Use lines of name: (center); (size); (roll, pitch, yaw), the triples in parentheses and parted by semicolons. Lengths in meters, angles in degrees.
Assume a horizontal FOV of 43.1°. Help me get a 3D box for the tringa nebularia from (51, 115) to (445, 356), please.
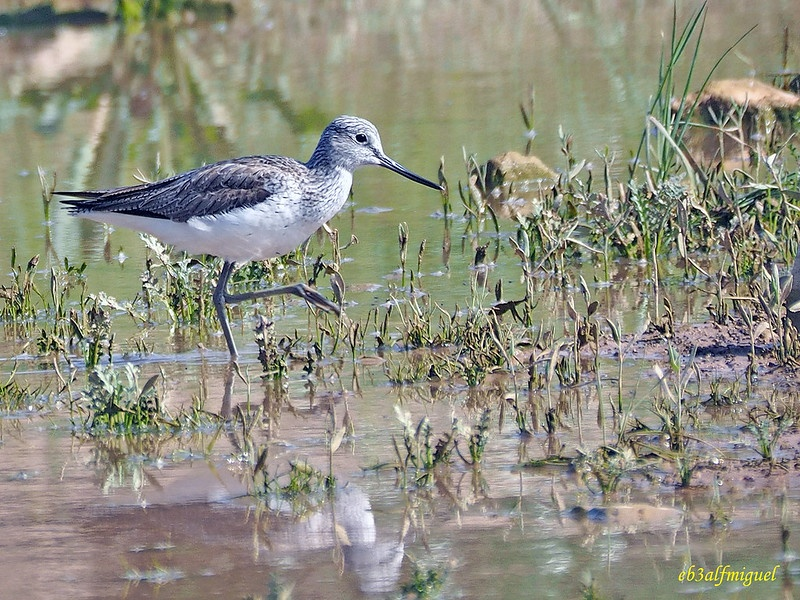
tringa nebularia: (-1.090, -0.514, 6.755); (2.520, 1.364, 0.591); (3, -7, 9)
